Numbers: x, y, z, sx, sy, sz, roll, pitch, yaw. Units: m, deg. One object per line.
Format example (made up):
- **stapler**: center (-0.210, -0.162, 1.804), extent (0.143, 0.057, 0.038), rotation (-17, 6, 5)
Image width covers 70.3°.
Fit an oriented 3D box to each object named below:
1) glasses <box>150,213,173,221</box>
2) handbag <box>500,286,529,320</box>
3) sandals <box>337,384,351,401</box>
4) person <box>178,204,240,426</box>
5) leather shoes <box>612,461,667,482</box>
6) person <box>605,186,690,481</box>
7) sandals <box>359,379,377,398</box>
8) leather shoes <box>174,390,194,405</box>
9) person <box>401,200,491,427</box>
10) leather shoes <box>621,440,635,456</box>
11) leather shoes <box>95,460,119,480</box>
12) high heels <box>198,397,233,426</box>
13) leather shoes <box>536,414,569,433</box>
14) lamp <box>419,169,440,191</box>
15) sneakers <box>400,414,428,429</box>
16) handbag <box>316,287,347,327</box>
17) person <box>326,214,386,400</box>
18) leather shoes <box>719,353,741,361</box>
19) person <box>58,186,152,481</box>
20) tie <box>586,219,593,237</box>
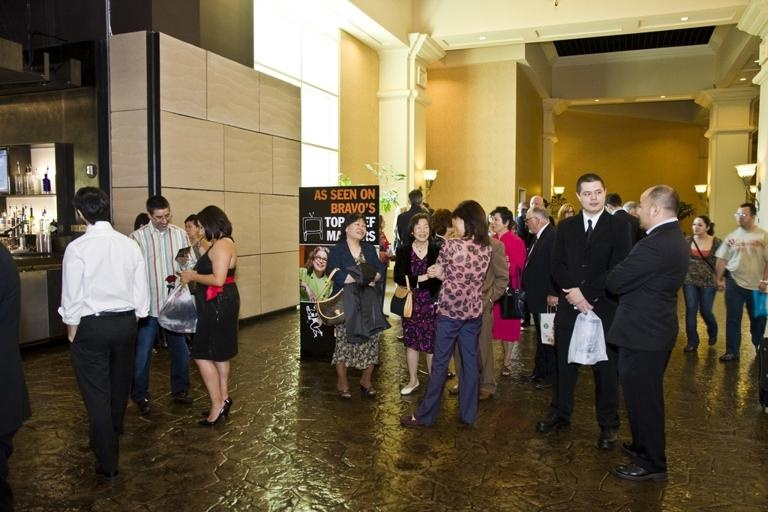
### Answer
- **glasses**: center (-2.306, -0.401, 5.631), extent (0.186, 0.109, 0.204), rotation (-5, 12, -25)
- **handbag**: center (1.476, 0.534, 6.202), extent (0.348, 0.463, 0.237), rotation (2, 8, 13)
- **sandals**: center (-0.443, 1.493, 5.914), extent (0.093, 0.104, 0.260), rotation (-1, -13, -17)
- **person**: center (-1.663, 0.583, 5.245), extent (0.502, 2.093, 0.326), rotation (-4, 11, -22)
- **leather shoes**: center (2.085, 1.769, 4.436), extent (0.346, 0.131, 0.164), rotation (3, -4, 12)
- **person**: center (2.152, 0.625, 4.451), extent (0.614, 2.359, 0.534), rotation (-4, 11, -20)
- **sandals**: center (-0.177, 1.466, 5.995), extent (0.093, 0.072, 0.286), rotation (-1, 1, -17)
- **leather shoes**: center (-2.140, 1.521, 5.810), extent (0.206, 0.094, 0.113), rotation (0, 4, 13)
- **person**: center (0.647, 0.560, 5.247), extent (0.712, 2.145, 0.435), rotation (1, 10, 5)
- **leather shoes**: center (2.143, 1.693, 4.764), extent (0.082, 0.089, 0.227), rotation (4, 3, 1)
- **leather shoes**: center (-2.283, 1.769, 4.505), extent (0.252, 0.110, 0.101), rotation (11, 8, 26)
- **high heels**: center (-1.661, 1.545, 5.402), extent (0.315, 0.206, 0.162), rotation (-1, 3, -38)
- **leather shoes**: center (1.597, 1.607, 5.249), extent (0.357, 0.160, 0.130), rotation (1, 0, -18)
- **lamp**: center (1.191, -2.031, 14.257), extent (0.656, 0.740, 0.621), rotation (1, 1, 10)
- **sneakers**: center (0.305, 1.612, 5.302), extent (0.275, 0.119, 0.100), rotation (10, -4, 15)
- **handbag**: center (-0.492, 0.588, 6.145), extent (0.448, 0.281, 0.163), rotation (-36, -32, 11)
- **person**: center (-0.286, 0.541, 5.991), extent (0.633, 1.965, 0.620), rotation (-1, 11, -7)
- **leather shoes**: center (4.482, 1.311, 7.077), extent (0.274, 0.101, 0.101), rotation (0, -1, -24)
- **person**: center (-2.287, 0.620, 4.522), extent (0.425, 2.351, 0.566), rotation (6, 12, 29)
- **tie**: center (1.893, -0.257, 5.025), extent (0.034, 0.159, 0.043), rotation (6, -21, 23)
